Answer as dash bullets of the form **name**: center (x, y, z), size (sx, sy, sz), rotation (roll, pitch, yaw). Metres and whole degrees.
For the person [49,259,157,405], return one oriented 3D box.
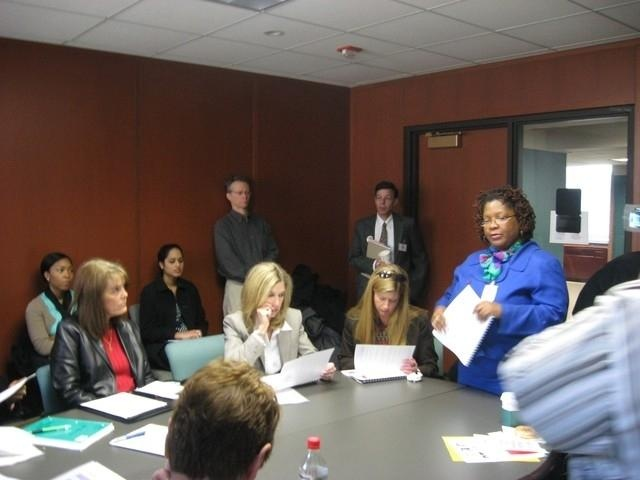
- **person**: center (-1.073, 0.540, 2.690), size (0.462, 0.834, 0.508), rotation (-8, -8, 27)

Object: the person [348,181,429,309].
- **person**: center (0.625, 0.448, 5.053), size (0.728, 1.953, 0.578), rotation (5, 20, 17)

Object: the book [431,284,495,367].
- **book**: center (0.673, 0.386, 2.462), size (0.069, 0.356, 0.320), rotation (24, 13, -12)

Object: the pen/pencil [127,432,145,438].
- **pen/pencil**: center (-0.664, 0.704, 1.920), size (0.065, 0.011, 0.017), rotation (-4, -6, -18)

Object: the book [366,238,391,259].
- **book**: center (0.510, 0.082, 4.759), size (0.085, 0.184, 0.303), rotation (-2, 6, -32)

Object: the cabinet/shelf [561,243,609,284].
- **cabinet/shelf**: center (2.035, 0.158, 4.096), size (0.307, 0.301, 0.199), rotation (8, 26, 35)

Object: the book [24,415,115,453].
- **book**: center (-0.946, 0.700, 1.974), size (0.345, 0.029, 0.230), rotation (2, 5, 15)
